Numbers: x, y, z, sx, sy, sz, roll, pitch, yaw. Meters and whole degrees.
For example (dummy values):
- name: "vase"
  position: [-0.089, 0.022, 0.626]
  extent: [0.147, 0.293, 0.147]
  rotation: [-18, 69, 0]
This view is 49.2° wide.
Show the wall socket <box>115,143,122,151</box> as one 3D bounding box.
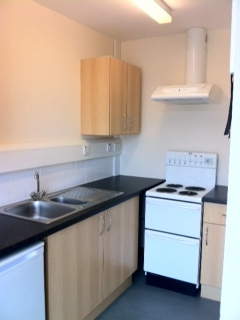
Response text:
- name: "wall socket"
  position: [-0.021, -0.152, 3.132]
  extent: [0.030, 0.094, 0.175]
  rotation: [3, 3, 19]

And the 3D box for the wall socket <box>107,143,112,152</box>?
- name: "wall socket"
  position: [-0.124, -0.143, 2.969]
  extent: [0.012, 0.065, 0.087]
  rotation: [5, 10, 24]

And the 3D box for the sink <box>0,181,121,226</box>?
- name: "sink"
  position: [-0.391, 0.340, 2.064]
  extent: [0.541, 0.204, 1.112]
  rotation: [3, 3, 26]

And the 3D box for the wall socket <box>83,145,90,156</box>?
- name: "wall socket"
  position: [-0.339, -0.096, 2.581]
  extent: [0.012, 0.068, 0.092]
  rotation: [7, 14, 27]

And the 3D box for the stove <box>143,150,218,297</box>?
- name: "stove"
  position: [0.585, 0.550, 2.508]
  extent: [0.540, 1.245, 0.599]
  rotation: [4, 8, 26]
